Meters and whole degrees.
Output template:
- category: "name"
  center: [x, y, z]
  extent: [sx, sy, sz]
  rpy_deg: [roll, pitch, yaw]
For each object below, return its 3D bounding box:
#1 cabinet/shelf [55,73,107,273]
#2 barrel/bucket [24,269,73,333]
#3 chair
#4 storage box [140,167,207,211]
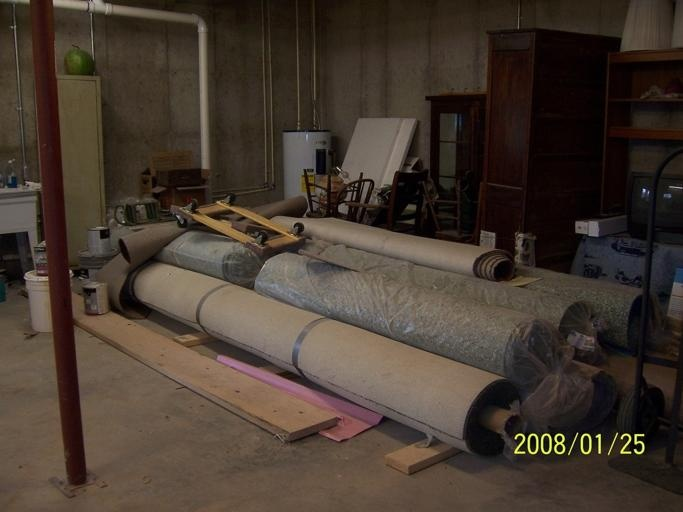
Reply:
- category: "cabinet/shelf"
  center: [-3.332, -1.112, 6.568]
  extent: [0.663, 2.387, 0.389]
  rpy_deg: [-11, 17, -36]
- category: "barrel/bucket"
  center: [-2.733, 0.421, 4.570]
  extent: [0.158, 0.517, 0.360]
  rpy_deg: [-13, 19, -41]
- category: "chair"
  center: [0.874, -0.744, 7.224]
  extent: [2.338, 0.993, 1.859]
  rpy_deg: [6, 15, 23]
- category: "storage box"
  center: [-2.553, -1.038, 7.886]
  extent: [0.956, 0.705, 0.999]
  rpy_deg: [1, 7, 5]
